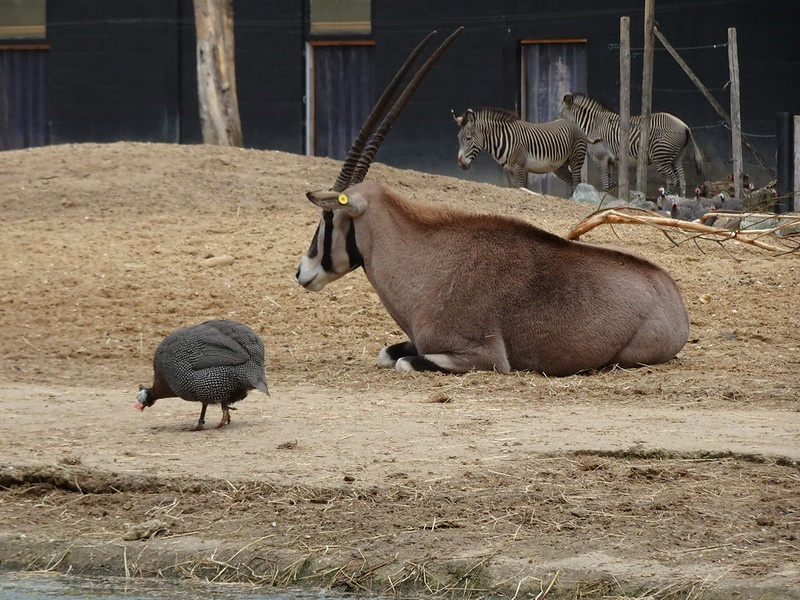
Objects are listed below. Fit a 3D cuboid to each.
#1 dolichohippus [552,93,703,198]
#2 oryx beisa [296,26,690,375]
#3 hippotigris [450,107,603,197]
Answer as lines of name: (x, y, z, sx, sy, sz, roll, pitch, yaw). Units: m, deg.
dolichohippus: (3.789, -2.558, 22.197, 2.863, 1.368, 0.832, 12, 17, 28)
oryx beisa: (0.820, -0.177, 11.423, 3.181, 1.609, 0.753, 1, 6, 8)
hippotigris: (1.993, -2.355, 21.716, 2.682, 1.432, 0.731, -6, 10, -33)
